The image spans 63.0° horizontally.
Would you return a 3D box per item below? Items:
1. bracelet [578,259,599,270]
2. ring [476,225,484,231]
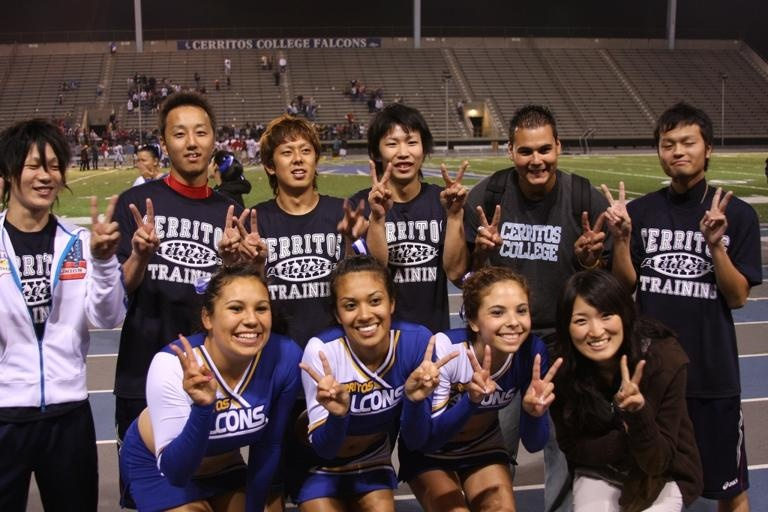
[{"bbox_3d":[1.754,0.081,5.336,0.180,0.085,0.145,-4,-1,10],"label":"bracelet"},{"bbox_3d":[0.835,-0.223,5.386,0.057,0.026,0.045,-6,-1,-9],"label":"ring"}]
